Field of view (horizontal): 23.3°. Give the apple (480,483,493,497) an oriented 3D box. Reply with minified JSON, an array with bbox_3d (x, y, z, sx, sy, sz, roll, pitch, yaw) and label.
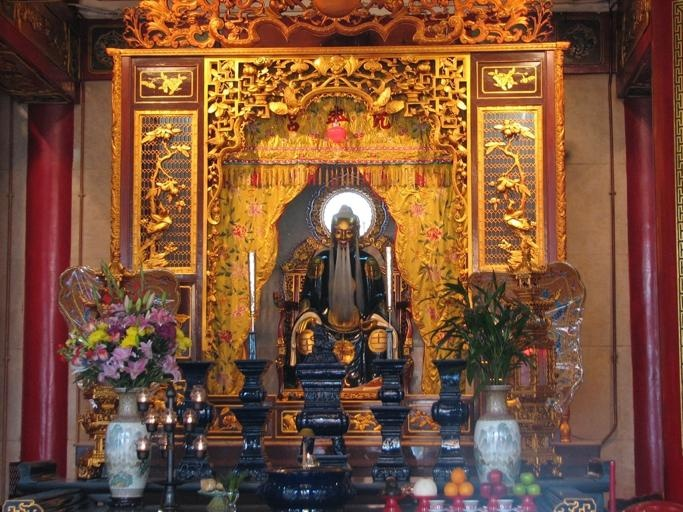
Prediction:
[{"bbox_3d":[0.870,1.398,9.873,0.072,0.083,0.071,7,-12,-11],"label":"apple"}]

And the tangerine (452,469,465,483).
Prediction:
[{"bbox_3d":[0.714,1.327,9.948,0.085,0.096,0.079,-2,-14,3],"label":"tangerine"}]

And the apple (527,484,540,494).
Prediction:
[{"bbox_3d":[1.157,1.399,9.869,0.059,0.066,0.057,14,-11,-12],"label":"apple"}]

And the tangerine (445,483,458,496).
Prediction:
[{"bbox_3d":[0.662,1.394,9.898,0.075,0.083,0.073,6,-20,0],"label":"tangerine"}]

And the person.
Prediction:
[{"bbox_3d":[0.023,0.219,12.284,0.798,1.214,0.683,-2,-14,3],"label":"person"}]

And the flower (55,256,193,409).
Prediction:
[{"bbox_3d":[-1.353,0.478,10.176,0.825,0.826,0.585,-3,7,-36],"label":"flower"}]

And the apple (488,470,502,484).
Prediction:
[{"bbox_3d":[0.932,1.330,9.907,0.076,0.085,0.074,7,-20,-5],"label":"apple"}]

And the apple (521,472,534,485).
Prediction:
[{"bbox_3d":[1.130,1.347,9.985,0.082,0.081,0.125,-2,-14,4],"label":"apple"}]

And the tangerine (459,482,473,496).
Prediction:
[{"bbox_3d":[0.743,1.404,9.899,0.076,0.085,0.074,12,-29,-26],"label":"tangerine"}]
